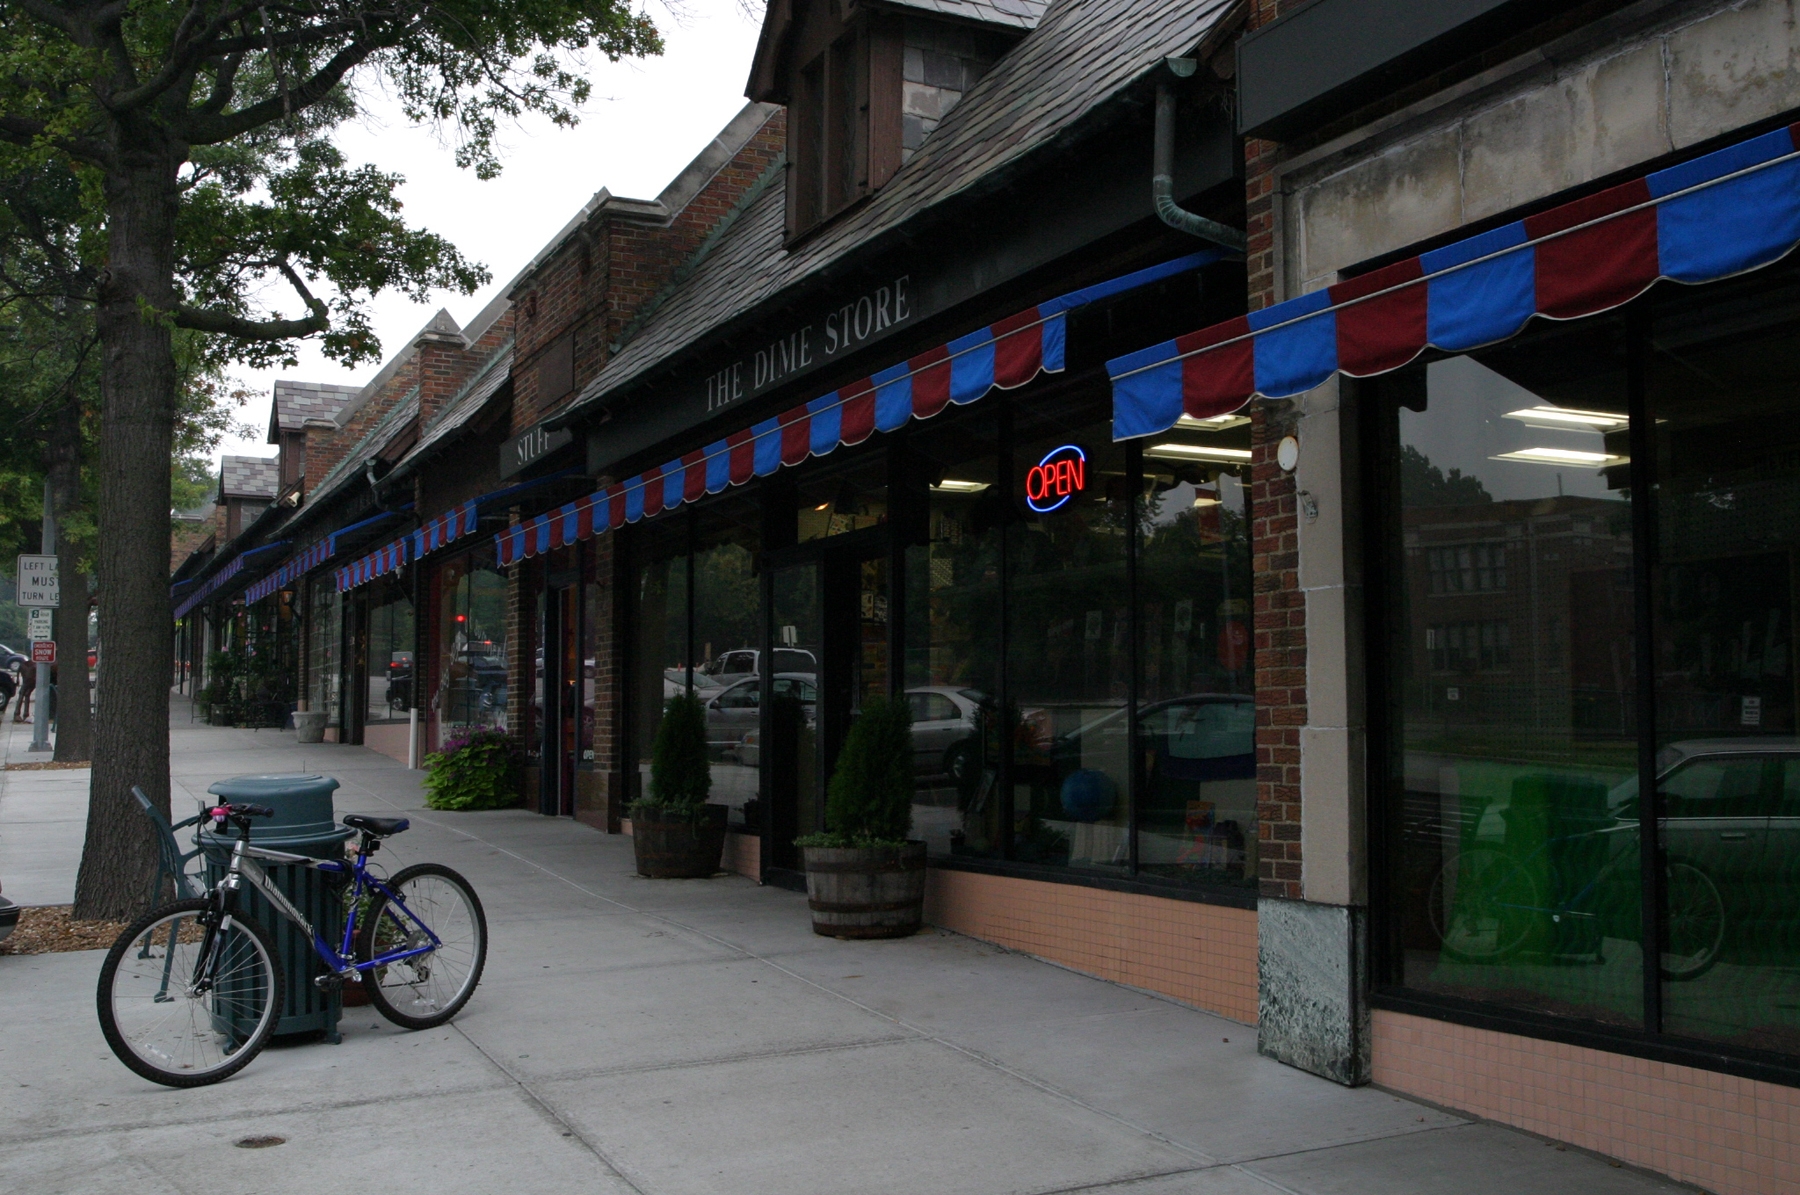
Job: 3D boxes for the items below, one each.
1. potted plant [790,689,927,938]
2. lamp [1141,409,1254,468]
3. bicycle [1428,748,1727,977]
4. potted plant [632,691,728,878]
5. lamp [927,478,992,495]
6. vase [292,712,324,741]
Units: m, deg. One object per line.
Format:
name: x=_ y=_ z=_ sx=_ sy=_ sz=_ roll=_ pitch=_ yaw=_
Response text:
potted plant: x=-0.177 y=1.704 z=13.952 sx=0.950 sy=1.853 sz=0.989 roll=5 pitch=-6 yaw=-39
lamp: x=2.186 y=-1.133 z=12.134 sx=0.181 sy=0.408 sz=0.575 roll=-3 pitch=9 yaw=-42
bicycle: x=4.084 y=1.609 z=10.129 sx=0.766 sy=0.969 sz=1.577 roll=7 pitch=-14 yaw=-39
potted plant: x=-2.104 y=1.828 z=16.578 sx=0.888 sy=1.758 sz=0.509 roll=0 pitch=5 yaw=-7
lamp: x=0.511 y=-0.927 z=14.141 sx=0.131 sy=0.137 sz=0.797 roll=-1 pitch=5 yaw=-23
vase: x=-11.660 y=2.561 z=34.013 sx=0.566 sy=0.581 sz=0.846 roll=-1 pitch=5 yaw=-20
